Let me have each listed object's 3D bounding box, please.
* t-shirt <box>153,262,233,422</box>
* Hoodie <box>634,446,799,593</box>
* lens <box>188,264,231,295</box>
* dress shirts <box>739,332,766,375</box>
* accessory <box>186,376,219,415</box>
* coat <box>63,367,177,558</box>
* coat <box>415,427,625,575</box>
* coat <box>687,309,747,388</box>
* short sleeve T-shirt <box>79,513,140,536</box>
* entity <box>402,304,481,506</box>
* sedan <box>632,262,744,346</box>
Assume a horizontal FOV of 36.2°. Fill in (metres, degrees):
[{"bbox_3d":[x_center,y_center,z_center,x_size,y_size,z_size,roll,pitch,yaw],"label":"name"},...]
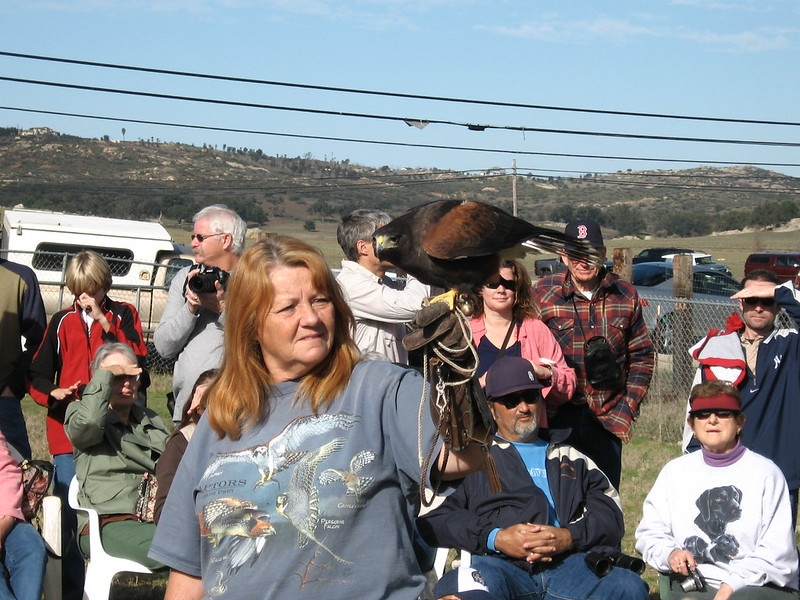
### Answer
[{"bbox_3d":[-1.520,0.351,9.568,0.631,1.584,0.581,-4,18,-14],"label":"t-shirt"},{"bbox_3d":[2.460,1.796,9.458,1.064,1.076,1.044,0,-13,14],"label":"Hoodie"},{"bbox_3d":[-1.425,-0.122,9.251,0.257,0.190,0.295,-1,-1,22],"label":"lens"},{"bbox_3d":[2.886,0.449,9.976,0.234,0.330,0.174,-6,-44,19],"label":"dress shirts"},{"bbox_3d":[-1.306,0.647,8.235,0.118,0.277,0.196,28,-12,-36],"label":"accessory"},{"bbox_3d":[-2.074,1.272,9.496,0.848,1.452,0.945,-14,-17,25],"label":"coat"},{"bbox_3d":[0.995,1.428,9.023,1.501,0.749,0.840,-1,20,-23],"label":"coat"},{"bbox_3d":[2.640,0.387,10.043,0.175,0.541,0.408,32,-34,-25],"label":"coat"},{"bbox_3d":[-2.195,1.667,9.281,0.312,0.116,0.199,5,-25,-13],"label":"short sleeve T-shirt"},{"bbox_3d":[0.278,0.599,7.109,0.489,1.202,0.232,2,3,10],"label":"entity"},{"bbox_3d":[3.737,0.051,16.037,2.105,1.063,1.066,-3,6,-8],"label":"sedan"}]
